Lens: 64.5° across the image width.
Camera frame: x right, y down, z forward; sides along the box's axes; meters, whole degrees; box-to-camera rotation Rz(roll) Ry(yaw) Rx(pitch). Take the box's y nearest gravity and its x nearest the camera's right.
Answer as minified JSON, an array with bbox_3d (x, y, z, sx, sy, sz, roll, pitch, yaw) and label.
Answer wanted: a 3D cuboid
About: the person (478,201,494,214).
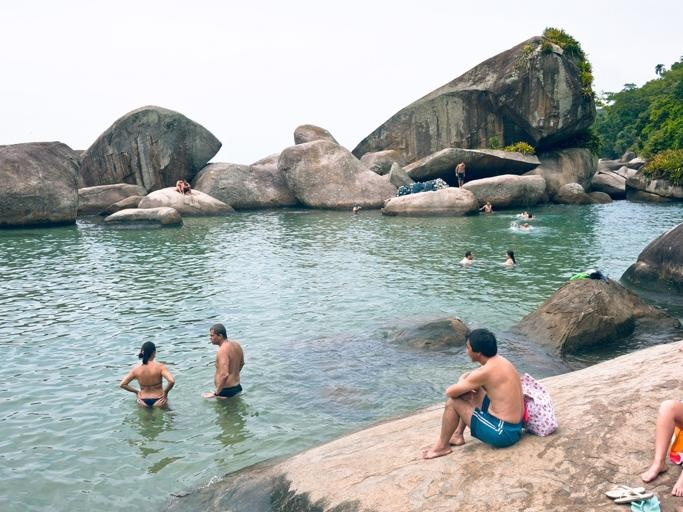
[{"bbox_3d":[8.293,-2.783,31.096,0.182,0.469,0.865,29,7,-17],"label":"person"}]

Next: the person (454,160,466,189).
[{"bbox_3d":[7.666,-5.232,34.537,0.544,1.543,2.949,2,13,13],"label":"person"}]

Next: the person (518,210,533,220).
[{"bbox_3d":[9.455,-1.982,27.519,0.671,0.320,0.945,-3,2,3],"label":"person"}]

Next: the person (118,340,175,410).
[{"bbox_3d":[-3.119,2.246,8.722,0.826,1.612,0.542,-2,8,-14],"label":"person"}]

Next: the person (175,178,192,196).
[{"bbox_3d":[-8.993,-3.856,30.769,0.789,0.745,0.844,-4,13,-14],"label":"person"}]

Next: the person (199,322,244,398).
[{"bbox_3d":[-1.935,1.711,8.895,0.610,1.107,0.620,-3,13,-10],"label":"person"}]

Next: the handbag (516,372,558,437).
[{"bbox_3d":[2.243,1.729,6.301,0.243,0.622,0.540,-17,-10,34],"label":"handbag"}]

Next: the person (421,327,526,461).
[{"bbox_3d":[1.602,1.651,6.470,1.201,1.421,0.805,0,-2,22],"label":"person"}]
